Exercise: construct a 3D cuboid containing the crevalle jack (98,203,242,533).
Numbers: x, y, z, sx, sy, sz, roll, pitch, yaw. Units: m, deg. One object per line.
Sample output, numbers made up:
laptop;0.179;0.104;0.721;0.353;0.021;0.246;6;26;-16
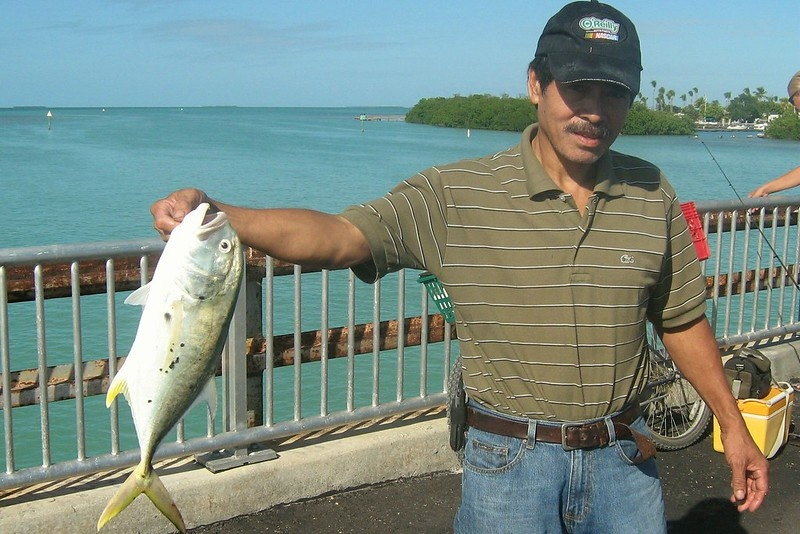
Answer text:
crevalle jack;-1.017;0.463;3.836;0.660;1.466;0.245;-5;10;-20
